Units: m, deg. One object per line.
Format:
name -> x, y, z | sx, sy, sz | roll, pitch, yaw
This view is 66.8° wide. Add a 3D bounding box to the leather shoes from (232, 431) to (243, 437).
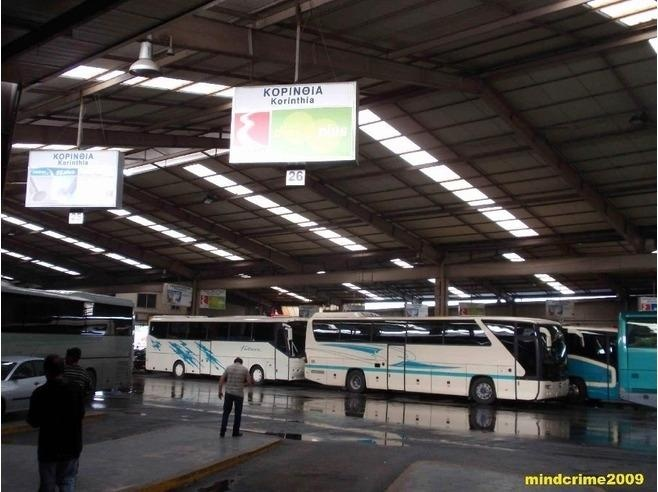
leather shoes -> -2.248, 4.492, 12.120 | 0.222, 0.172, 0.286 | 4, -11, -9
